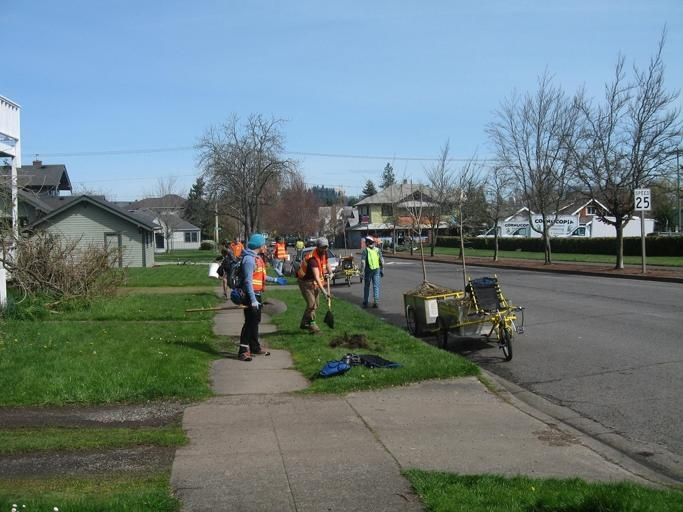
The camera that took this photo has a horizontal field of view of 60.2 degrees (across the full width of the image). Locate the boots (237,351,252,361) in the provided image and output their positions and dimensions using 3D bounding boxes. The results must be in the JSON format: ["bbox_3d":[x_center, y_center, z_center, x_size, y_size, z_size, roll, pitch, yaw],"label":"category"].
[{"bbox_3d":[-1.716,1.754,10.449,0.237,0.135,0.280,0,7,-10],"label":"boots"}]

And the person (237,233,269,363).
[{"bbox_3d":[-1.607,0.703,10.551,0.548,2.072,0.691,3,4,-11],"label":"person"}]

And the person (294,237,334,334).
[{"bbox_3d":[-0.552,0.657,12.453,0.674,2.069,0.759,3,3,-11],"label":"person"}]

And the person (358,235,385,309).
[{"bbox_3d":[1.015,0.459,17.793,0.708,2.117,0.790,0,0,-18],"label":"person"}]

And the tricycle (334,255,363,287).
[{"bbox_3d":[0.245,0.672,26.088,0.825,1.102,1.612,-1,-1,-7],"label":"tricycle"}]

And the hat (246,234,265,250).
[{"bbox_3d":[-1.580,-0.290,10.853,0.254,0.273,0.341,3,18,7],"label":"hat"}]

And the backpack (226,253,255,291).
[{"bbox_3d":[-1.877,0.249,10.828,0.630,0.740,0.479,0,1,-3],"label":"backpack"}]
